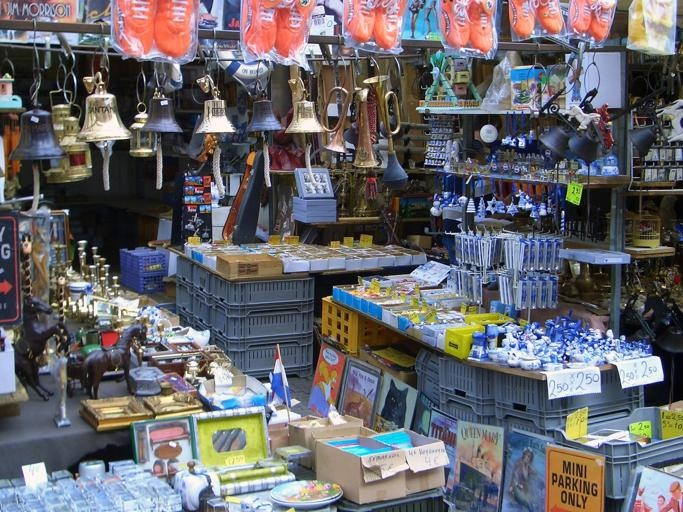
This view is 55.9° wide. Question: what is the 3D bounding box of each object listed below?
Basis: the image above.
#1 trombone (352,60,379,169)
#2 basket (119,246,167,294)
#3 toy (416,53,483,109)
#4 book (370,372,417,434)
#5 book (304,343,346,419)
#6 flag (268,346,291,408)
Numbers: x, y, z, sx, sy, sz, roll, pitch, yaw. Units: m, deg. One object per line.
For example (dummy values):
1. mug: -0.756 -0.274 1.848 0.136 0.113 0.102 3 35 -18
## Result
1. trombone: 0.165 -0.887 4.358 0.157 0.557 0.359 -1 9 1
2. basket: -3.274 0.207 10.485 0.702 0.800 0.761 -4 6 -34
3. toy: 1.063 -1.683 6.050 0.418 0.597 0.573 4 0 -13
4. book: 0.418 1.171 5.064 0.327 0.461 0.047 18 -7 -8
5. book: -0.139 1.117 5.725 0.253 0.636 0.315 -13 21 -39
6. flag: -0.385 0.750 3.948 0.094 0.506 0.058 0 20 5
